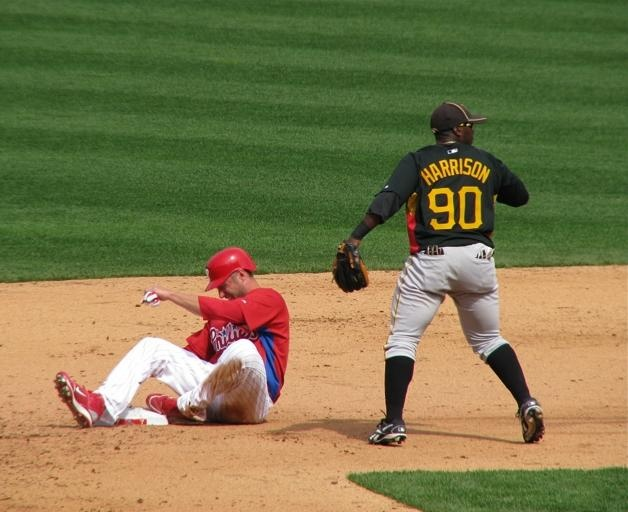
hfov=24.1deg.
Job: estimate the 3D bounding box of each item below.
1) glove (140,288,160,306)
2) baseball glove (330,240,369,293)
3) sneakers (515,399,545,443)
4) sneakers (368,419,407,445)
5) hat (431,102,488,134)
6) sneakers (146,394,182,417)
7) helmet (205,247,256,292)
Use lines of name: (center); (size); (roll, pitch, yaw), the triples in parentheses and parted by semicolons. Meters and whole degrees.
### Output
glove: (-1.830, 0.443, 16.512); (0.193, 0.172, 0.219); (3, 1, -7)
baseball glove: (0.466, 0.083, 16.939); (0.393, 0.554, 0.226); (-10, 8, 24)
sneakers: (2.455, 1.847, 16.587); (0.217, 0.568, 0.261); (-22, 38, -21)
sneakers: (0.825, 1.975, 16.533); (0.511, 0.275, 0.194); (-9, -20, 27)
hat: (1.654, -1.579, 17.019); (0.512, 0.270, 0.355); (-14, 13, 1)
sneakers: (-1.751, 1.710, 17.137); (0.428, 0.168, 0.182); (19, 40, 32)
helmet: (-1.015, 0.090, 17.026); (0.558, 0.303, 0.407); (-31, 11, -10)
